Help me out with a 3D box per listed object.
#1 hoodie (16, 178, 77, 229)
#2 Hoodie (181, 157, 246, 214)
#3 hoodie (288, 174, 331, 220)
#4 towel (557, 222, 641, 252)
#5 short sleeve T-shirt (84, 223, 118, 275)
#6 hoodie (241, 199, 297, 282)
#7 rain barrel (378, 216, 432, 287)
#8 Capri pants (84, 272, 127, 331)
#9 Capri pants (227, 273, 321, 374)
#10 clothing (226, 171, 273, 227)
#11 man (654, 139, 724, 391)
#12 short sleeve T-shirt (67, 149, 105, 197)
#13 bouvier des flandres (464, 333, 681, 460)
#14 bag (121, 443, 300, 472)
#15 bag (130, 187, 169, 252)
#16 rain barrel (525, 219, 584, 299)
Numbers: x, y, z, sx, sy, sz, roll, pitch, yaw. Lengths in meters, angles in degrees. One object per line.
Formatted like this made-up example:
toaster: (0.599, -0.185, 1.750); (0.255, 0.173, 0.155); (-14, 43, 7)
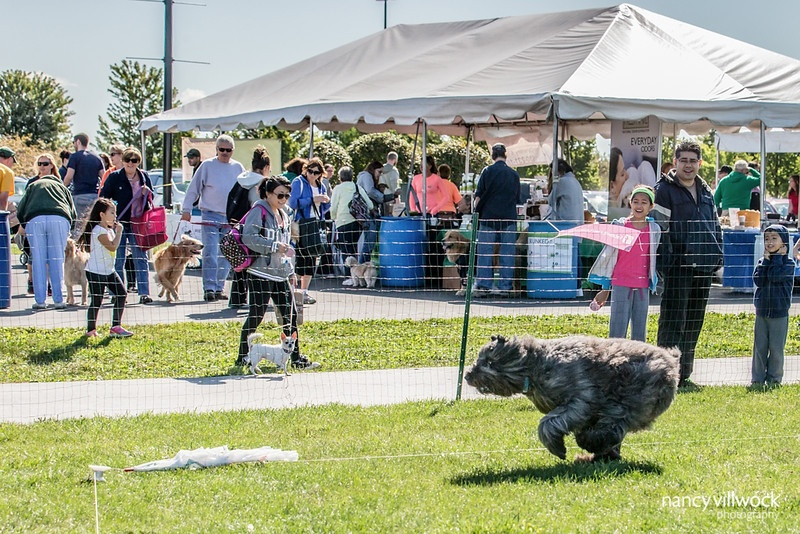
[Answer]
hoodie: (-5.970, -1.131, 20.044); (1.100, 1.206, 0.701); (-1, 2, -25)
Hoodie: (-3.128, -1.385, 20.864); (1.455, 1.241, 0.531); (2, -5, -30)
hoodie: (-1.625, -1.242, 21.313); (0.749, 0.964, 0.598); (-6, 15, -44)
towel: (2.754, -0.404, 15.885); (1.191, 0.383, 0.397); (-2, 4, -30)
short sleeve T-shirt: (-4.667, -0.259, 17.962); (0.548, 1.056, 0.800); (1, 4, -8)
hoodie: (-1.880, -0.378, 17.054); (0.549, 1.202, 0.938); (3, -1, 31)
rain barrel: (0.013, -0.297, 22.933); (1.129, 1.870, 1.188); (0, 9, 0)
Capri pants: (-4.547, 0.518, 18.133); (0.569, 0.931, 0.493); (-1, 4, -26)
Capri pants: (-1.825, 0.637, 17.112); (1.192, 2.040, 0.462); (1, 27, -7)
clothing: (-2.333, -1.047, 18.206); (0.356, 0.648, 0.672); (18, 36, -12)
man: (4.130, -0.157, 16.829); (0.998, 3.209, 0.814); (-7, 10, -35)
short sleeve T-shirt: (-5.833, -1.709, 21.838); (0.644, 0.850, 0.443); (-1, -26, 16)
bouvier des flandres: (2.268, 1.669, 14.520); (2.718, 1.833, 1.245); (0, -3, -6)
bag: (-2.219, 2.293, 14.127); (1.977, 0.247, 0.233); (0, 4, -9)
bag: (-4.332, -0.669, 20.335); (0.679, 0.918, 0.314); (-12, -20, -10)
rain barrel: (2.877, -0.433, 22.300); (1.196, 1.722, 1.295); (-3, 28, 2)
